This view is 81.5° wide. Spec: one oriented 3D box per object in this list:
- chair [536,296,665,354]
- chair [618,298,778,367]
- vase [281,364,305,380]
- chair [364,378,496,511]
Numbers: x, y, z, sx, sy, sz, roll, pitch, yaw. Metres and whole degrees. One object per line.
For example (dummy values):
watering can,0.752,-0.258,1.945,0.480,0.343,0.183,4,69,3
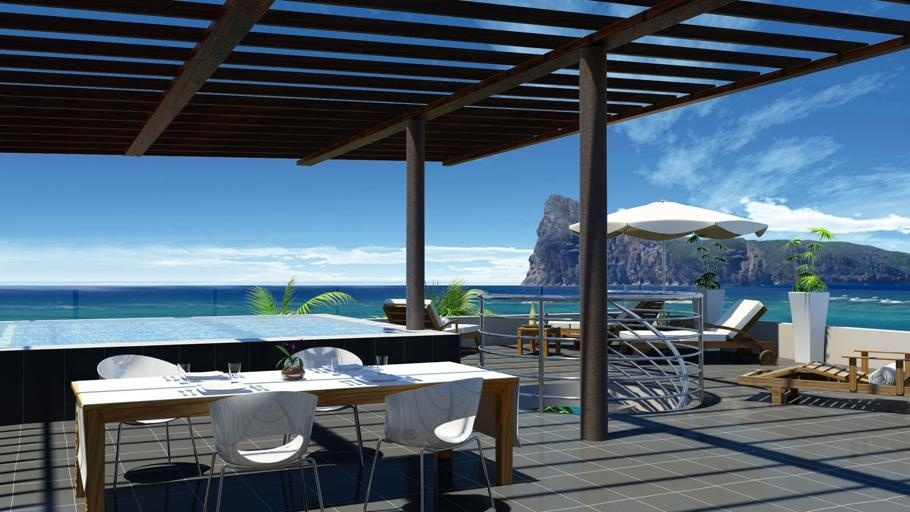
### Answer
chair,2.854,1.319,10.523,2.072,0.688,0.946,-7,-2,2
chair,5.104,1.600,10.742,2.507,0.632,1.064,0,-3,16
vase,-1.460,1.041,4.801,0.187,0.116,0.178,0,1,-28
chair,-0.187,1.370,4.390,0.739,0.682,0.347,-1,-4,-28
